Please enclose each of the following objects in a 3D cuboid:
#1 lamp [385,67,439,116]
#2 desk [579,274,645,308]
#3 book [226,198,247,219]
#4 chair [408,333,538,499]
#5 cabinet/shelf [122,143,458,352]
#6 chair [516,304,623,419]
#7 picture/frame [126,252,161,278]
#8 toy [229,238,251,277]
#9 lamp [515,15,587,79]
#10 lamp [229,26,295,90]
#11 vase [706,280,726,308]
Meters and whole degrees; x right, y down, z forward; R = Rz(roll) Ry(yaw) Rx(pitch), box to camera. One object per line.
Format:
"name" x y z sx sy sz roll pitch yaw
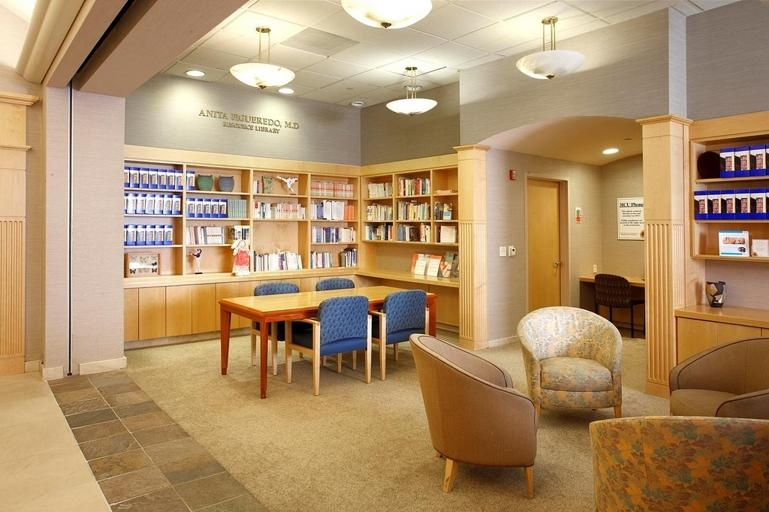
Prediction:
"lamp" 0.467 -2.662 8.120 0.942 0.628 0.846 0 -5 -4
"desk" 3.980 0.694 8.804 0.695 0.617 1.117 0 -1 -1
"book" -2.513 -0.771 8.688 0.352 0.380 0.425 0 -1 -7
"chair" 0.762 1.369 4.820 1.447 1.267 1.312 -1 -1 -3
"cabinet/shelf" -1.519 -0.420 8.605 4.207 2.106 3.888 -2 3 -26
"chair" 2.079 1.145 5.683 1.394 1.160 1.182 0 -10 5
"picture/frame" -3.844 0.141 7.972 0.477 0.326 0.160 2 -2 -35
"toy" -2.392 0.019 8.429 0.324 0.599 0.219 -9 17 -32
"lamp" 2.086 -2.533 6.197 0.719 0.724 0.981 5 13 21
"lamp" -1.574 -2.495 6.607 0.998 0.806 0.896 1 0 -6
"vase" 3.880 0.444 5.904 0.155 0.278 0.219 2 13 7
